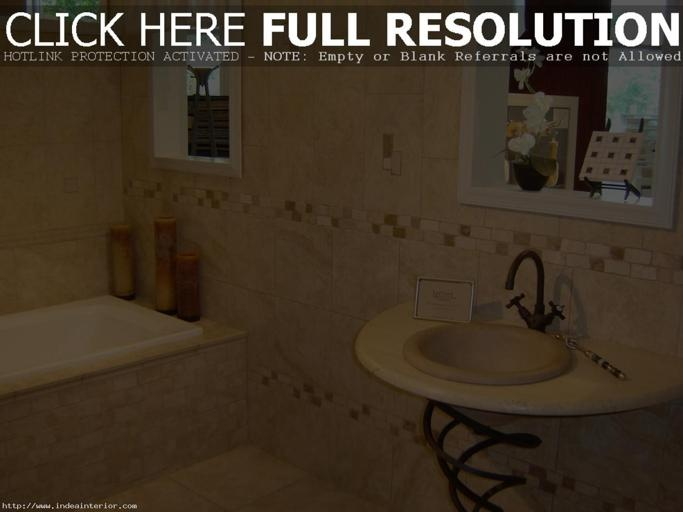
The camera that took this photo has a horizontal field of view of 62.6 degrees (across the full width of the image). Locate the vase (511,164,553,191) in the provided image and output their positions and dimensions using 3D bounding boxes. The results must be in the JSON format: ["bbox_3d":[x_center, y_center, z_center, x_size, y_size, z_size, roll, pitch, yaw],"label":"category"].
[{"bbox_3d":[0.729,-0.301,2.164,0.106,0.085,0.113,-2,9,-16],"label":"vase"}]

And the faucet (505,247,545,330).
[{"bbox_3d":[0.666,0.117,2.008,0.147,0.288,0.370,4,13,18],"label":"faucet"}]

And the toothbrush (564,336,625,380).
[{"bbox_3d":[0.824,0.332,1.800,0.041,0.017,0.212,-24,13,-2],"label":"toothbrush"}]
